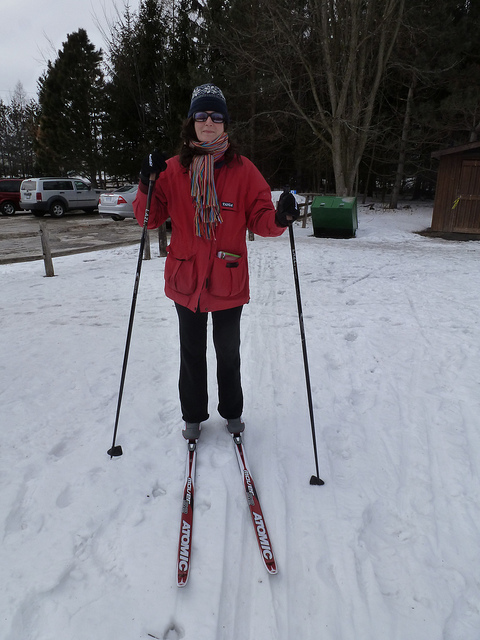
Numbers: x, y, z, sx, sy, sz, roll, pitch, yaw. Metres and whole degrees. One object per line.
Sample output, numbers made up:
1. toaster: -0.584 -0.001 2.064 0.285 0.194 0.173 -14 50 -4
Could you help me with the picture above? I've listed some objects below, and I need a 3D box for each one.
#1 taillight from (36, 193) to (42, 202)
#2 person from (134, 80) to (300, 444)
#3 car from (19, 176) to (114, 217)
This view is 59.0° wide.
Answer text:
1. taillight: -7.600 -4.564 16.028 0.201 0.317 0.142 -7 16 -25
2. person: -0.142 -0.162 2.094 0.678 1.727 0.511 -2 19 -6
3. car: -7.151 -4.839 16.950 2.707 1.431 1.005 -15 21 -42
